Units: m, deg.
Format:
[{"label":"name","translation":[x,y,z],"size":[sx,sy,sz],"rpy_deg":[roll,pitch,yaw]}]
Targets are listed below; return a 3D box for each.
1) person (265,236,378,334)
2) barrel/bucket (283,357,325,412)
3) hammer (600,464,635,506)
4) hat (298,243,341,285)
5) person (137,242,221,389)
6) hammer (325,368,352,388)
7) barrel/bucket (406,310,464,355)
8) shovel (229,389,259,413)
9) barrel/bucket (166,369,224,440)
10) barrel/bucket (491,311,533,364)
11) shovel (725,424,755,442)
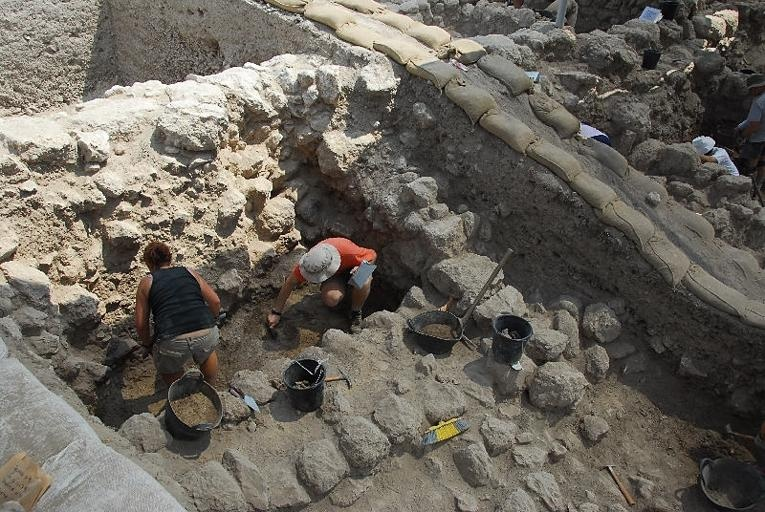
[{"label":"person","translation":[-0.640,0.327,8.404],"size":[0.958,0.923,1.228],"rpy_deg":[13,51,15]},{"label":"barrel/bucket","translation":[-0.779,1.254,7.332],"size":[0.472,0.363,0.430],"rpy_deg":[0,44,0]},{"label":"hammer","translation":[2.396,2.275,7.262],"size":[0.189,0.052,0.377],"rpy_deg":[-11,34,-9]},{"label":"hat","translation":[-0.698,0.071,8.163],"size":[0.497,0.300,0.337],"rpy_deg":[-37,71,-23]},{"label":"person","translation":[-2.145,0.688,7.718],"size":[0.851,1.181,1.150],"rpy_deg":[5,60,-4]},{"label":"hammer","translation":[-0.439,1.222,7.449],"size":[0.272,0.081,0.191],"rpy_deg":[11,61,-1]},{"label":"barrel/bucket","translation":[0.592,0.780,7.795],"size":[0.540,0.259,0.505],"rpy_deg":[3,61,-5]},{"label":"shovel","translation":[-1.373,1.412,7.257],"size":[0.132,0.051,0.415],"rpy_deg":[-16,32,-32]},{"label":"barrel/bucket","translation":[-1.871,1.459,7.072],"size":[0.590,0.251,0.572],"rpy_deg":[3,61,-5]},{"label":"barrel/bucket","translation":[1.348,0.890,7.600],"size":[0.431,0.440,0.482],"rpy_deg":[-3,17,-29]},{"label":"shovel","translation":[3.754,1.828,7.584],"size":[0.298,0.092,0.114],"rpy_deg":[23,61,5]}]
